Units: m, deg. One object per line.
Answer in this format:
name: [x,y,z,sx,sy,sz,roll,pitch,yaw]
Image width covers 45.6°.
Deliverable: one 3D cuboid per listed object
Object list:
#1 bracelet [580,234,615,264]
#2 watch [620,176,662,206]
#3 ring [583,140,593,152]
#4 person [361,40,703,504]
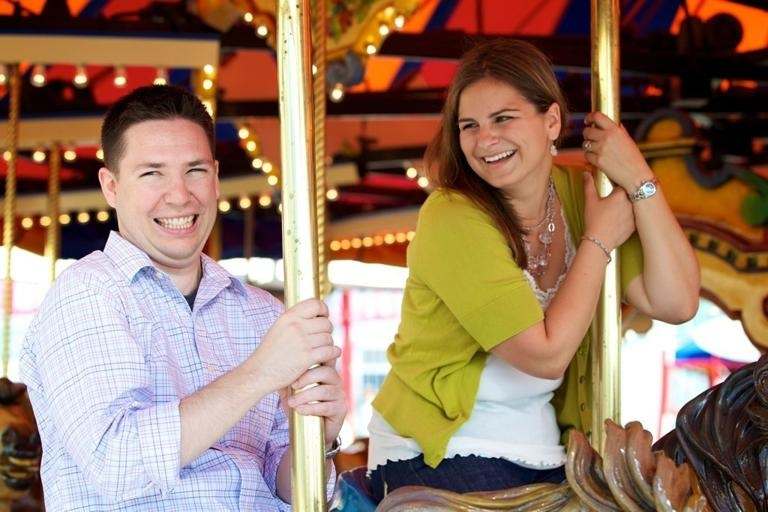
bracelet: [0.757,-0.035,3.251,0.103,0.031,0.086,37,2,17]
watch: [0.933,-0.227,3.289,0.087,0.090,0.082,-3,-19,-44]
ring: [0.743,-0.402,3.330,0.027,0.036,0.015,8,28,26]
person: [0.509,0.037,3.380,1.119,1.653,0.527,0,-3,-17]
